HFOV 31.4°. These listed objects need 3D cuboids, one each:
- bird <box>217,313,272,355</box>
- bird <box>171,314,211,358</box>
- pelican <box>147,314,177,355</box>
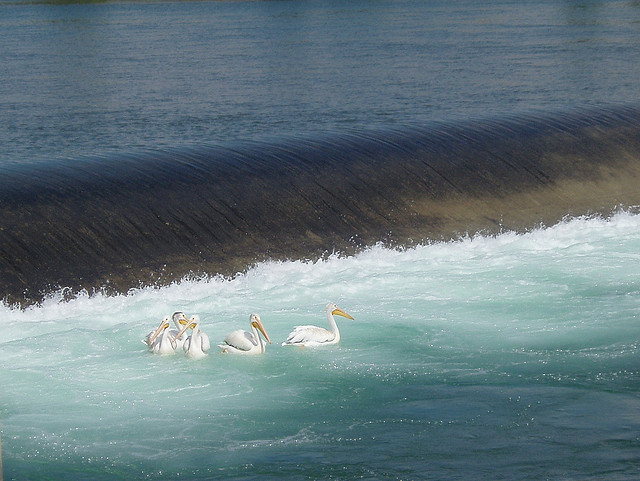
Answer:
[{"bbox_3d":[-1.901,2.359,28.521,1.225,1.081,0.709,-4,15,-4],"label":"bird"},{"bbox_3d":[-3.190,2.392,28.585,0.850,1.098,0.495,-5,16,-4],"label":"bird"},{"bbox_3d":[-4.040,2.341,28.972,0.810,0.934,1.183,0,35,-12],"label":"pelican"}]
